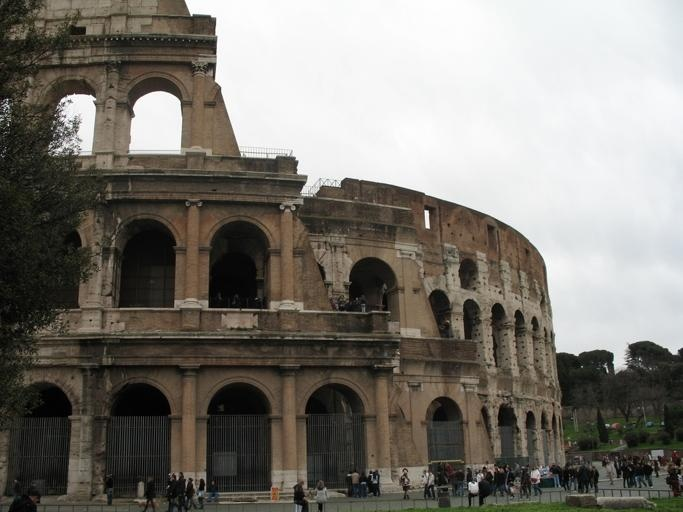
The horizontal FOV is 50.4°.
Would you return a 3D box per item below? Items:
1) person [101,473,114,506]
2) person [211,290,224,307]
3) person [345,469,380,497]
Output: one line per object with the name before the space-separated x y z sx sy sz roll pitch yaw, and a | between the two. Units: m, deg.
person | -8.217 8.213 25.681 0.363 1.121 1.210 4 -22 -17
person | -5.261 1.830 30.763 0.545 1.234 0.327 1 -47 -7
person | 0.853 8.612 27.434 1.241 0.964 1.019 -4 -21 2
